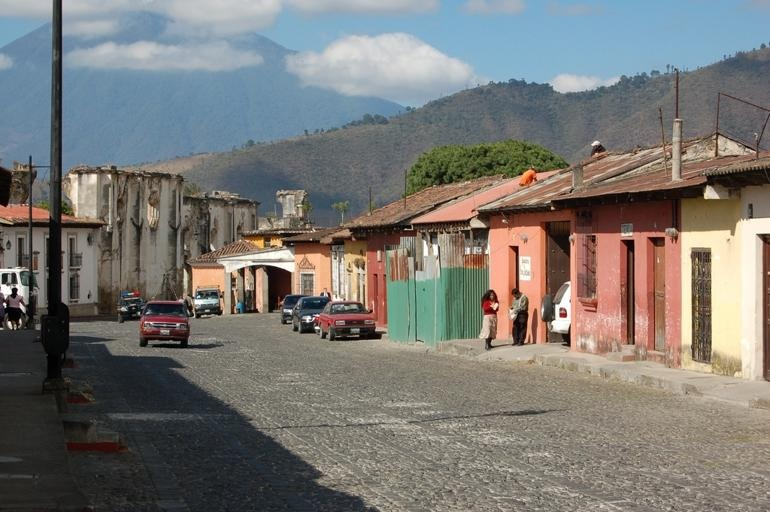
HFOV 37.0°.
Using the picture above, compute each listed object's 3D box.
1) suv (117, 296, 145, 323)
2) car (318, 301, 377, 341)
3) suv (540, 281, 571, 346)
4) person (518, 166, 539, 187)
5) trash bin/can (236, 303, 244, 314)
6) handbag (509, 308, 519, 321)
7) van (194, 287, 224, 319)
[{"bbox_3d":[-16.579,3.429,74.951,1.695,1.654,3.443,-1,-5,-16],"label":"suv"},{"bbox_3d":[-1.599,2.809,50.600,2.187,1.722,2.240,2,-4,-12],"label":"car"},{"bbox_3d":[5.848,1.947,39.287,0.953,2.115,2.120,1,-4,8],"label":"suv"},{"bbox_3d":[5.916,-3.178,47.334,0.647,1.044,2.146,1,-4,6],"label":"person"},{"bbox_3d":[-10.738,3.907,86.207,0.695,0.775,0.699,-3,-4,29],"label":"trash bin/can"},{"bbox_3d":[4.443,2.010,39.630,0.336,0.447,0.160,-2,2,8],"label":"handbag"},{"bbox_3d":[-12.254,3.253,80.059,1.892,2.036,2.792,2,-4,-9],"label":"van"}]
